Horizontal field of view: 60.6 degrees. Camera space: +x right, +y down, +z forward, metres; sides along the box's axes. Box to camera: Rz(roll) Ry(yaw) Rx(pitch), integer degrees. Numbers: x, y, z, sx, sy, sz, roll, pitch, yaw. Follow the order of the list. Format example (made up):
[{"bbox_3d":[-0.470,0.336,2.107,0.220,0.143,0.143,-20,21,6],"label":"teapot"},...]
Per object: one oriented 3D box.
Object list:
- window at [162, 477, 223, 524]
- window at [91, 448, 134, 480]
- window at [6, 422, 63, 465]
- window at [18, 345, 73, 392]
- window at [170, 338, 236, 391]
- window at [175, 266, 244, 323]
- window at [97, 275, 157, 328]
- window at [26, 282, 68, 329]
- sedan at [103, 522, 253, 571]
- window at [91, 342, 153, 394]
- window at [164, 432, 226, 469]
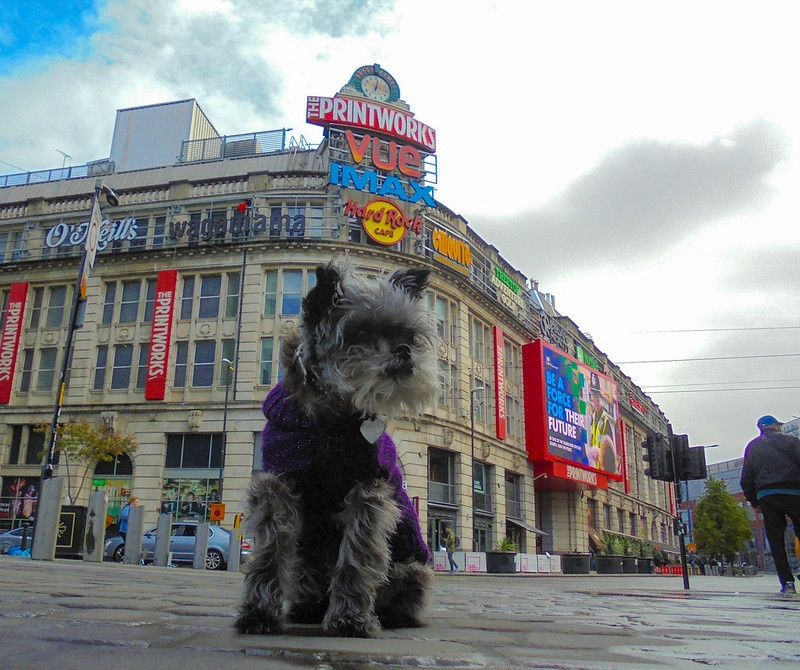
[{"bbox_3d":[-8.644,6.821,28.441,2.644,1.771,0.219,-2,-5,13],"label":"window"},{"bbox_3d":[-12.101,5.463,29.059,2.018,1.952,0.077,0,-31,-3],"label":"window"},{"bbox_3d":[-16.857,4.954,31.085,1.802,1.853,0.320,-6,-20,15],"label":"window"},{"bbox_3d":[-15.557,1.540,30.264,2.442,2.711,0.226,-7,-18,5],"label":"window"},{"bbox_3d":[-8.539,1.234,29.999,2.872,2.302,0.237,0,10,-37],"label":"window"},{"bbox_3d":[-8.457,-1.780,30.929,2.704,2.170,0.413,-2,-22,9],"label":"window"},{"bbox_3d":[-12.485,-1.501,31.729,2.561,2.145,0.195,-4,-24,8],"label":"window"},{"bbox_3d":[-16.915,-1.389,33.038,2.169,2.398,0.258,-4,-15,12],"label":"window"},{"bbox_3d":[-6.365,6.175,20.429,4.467,1.373,1.713,0,-12,12],"label":"sedan"},{"bbox_3d":[-12.406,1.397,30.751,3.037,2.531,0.280,-2,-15,11],"label":"window"},{"bbox_3d":[-8.479,4.894,28.824,1.892,1.100,0.038,-3,-29,10],"label":"window"}]
